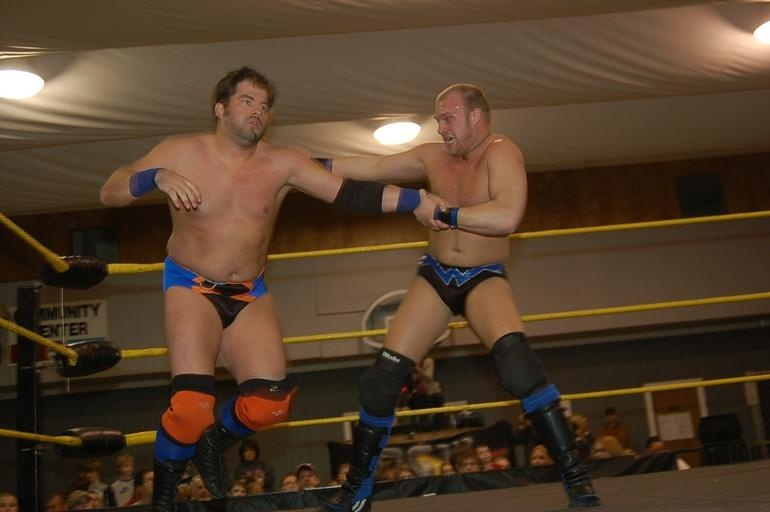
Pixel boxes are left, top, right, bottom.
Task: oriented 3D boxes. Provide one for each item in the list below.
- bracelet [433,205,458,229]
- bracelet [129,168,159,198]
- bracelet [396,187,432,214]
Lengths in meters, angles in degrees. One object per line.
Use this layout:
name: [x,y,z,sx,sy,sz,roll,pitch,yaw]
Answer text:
bracelet: [0.498,-0.306,6.399,0.195,0.119,0.181,1,6,18]
bracelet: [-1.806,-0.573,6.220,0.274,0.195,0.111,-10,-17,21]
bracelet: [0.220,-0.445,6.583,0.196,0.181,0.224,7,-20,-18]
